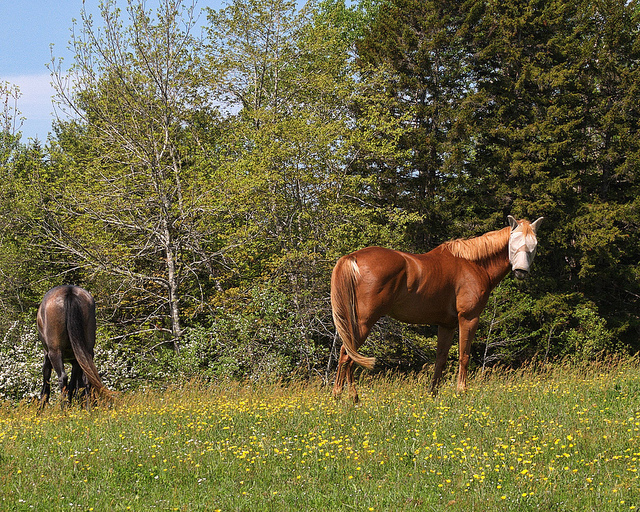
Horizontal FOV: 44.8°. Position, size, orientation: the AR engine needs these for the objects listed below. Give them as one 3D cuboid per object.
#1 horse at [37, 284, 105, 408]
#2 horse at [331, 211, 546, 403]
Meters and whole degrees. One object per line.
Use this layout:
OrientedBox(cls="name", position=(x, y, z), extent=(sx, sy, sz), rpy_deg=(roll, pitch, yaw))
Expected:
OrientedBox(cls="horse", position=(-7.182, 2.217, 21.560), extent=(1.283, 3.655, 5.288), rpy_deg=(-3, 2, -27))
OrientedBox(cls="horse", position=(2.755, 1.136, 18.803), extent=(5.809, 4.830, 2.231), rpy_deg=(3, 1, -26))
